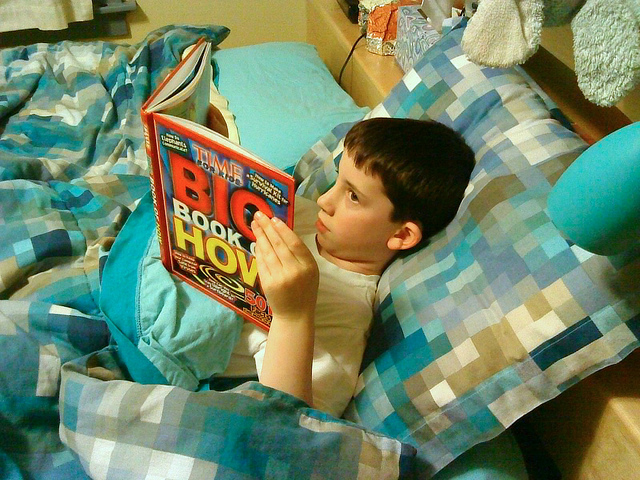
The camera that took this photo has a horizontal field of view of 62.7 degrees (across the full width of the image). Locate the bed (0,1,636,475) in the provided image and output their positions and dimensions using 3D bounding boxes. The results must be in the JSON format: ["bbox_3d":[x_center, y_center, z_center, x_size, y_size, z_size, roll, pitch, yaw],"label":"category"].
[{"bbox_3d":[-0.002,0.022,1.548,1.203,0.499,1.279,-6,61,2],"label":"bed"}]

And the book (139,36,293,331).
[{"bbox_3d":[-0.193,-0.062,0.988,0.212,0.381,0.357,-14,44,-18],"label":"book"}]

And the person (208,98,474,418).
[{"bbox_3d":[-0.005,0.107,1.121,0.523,0.257,0.774,-2,53,-15],"label":"person"}]
